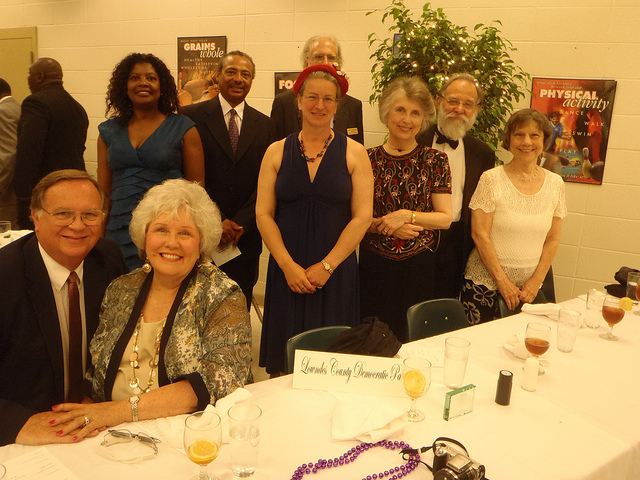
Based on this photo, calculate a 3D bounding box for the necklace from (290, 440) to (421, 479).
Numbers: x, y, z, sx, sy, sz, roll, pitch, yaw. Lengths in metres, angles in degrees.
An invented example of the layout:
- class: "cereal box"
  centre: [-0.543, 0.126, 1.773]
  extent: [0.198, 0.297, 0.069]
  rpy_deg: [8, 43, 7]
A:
- class: "necklace"
  centre: [0.098, 0.741, 1.665]
  extent: [0.296, 0.023, 0.154]
  rpy_deg: [-8, 13, -19]

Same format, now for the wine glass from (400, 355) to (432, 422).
- class: "wine glass"
  centre: [0.379, 0.557, 1.922]
  extent: [0.106, 0.207, 0.284]
  rpy_deg: [7, 15, 16]

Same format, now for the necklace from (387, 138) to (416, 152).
- class: "necklace"
  centre: [0.547, -0.630, 3.281]
  extent: [0.182, 0.077, 0.092]
  rpy_deg: [6, 15, 11]

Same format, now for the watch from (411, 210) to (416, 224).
- class: "watch"
  centre: [0.605, -0.141, 3.144]
  extent: [0.017, 0.049, 0.036]
  rpy_deg: [2, 6, -12]

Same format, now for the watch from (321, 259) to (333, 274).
- class: "watch"
  centre: [0.049, 0.160, 2.937]
  extent: [0.027, 0.072, 0.055]
  rpy_deg: [-35, 5, -8]

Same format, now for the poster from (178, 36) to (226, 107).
- class: "poster"
  centre: [-1.310, -1.861, 5.415]
  extent: [0.630, 0.731, 0.210]
  rpy_deg: [11, 16, 30]

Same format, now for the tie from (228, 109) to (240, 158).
- class: "tie"
  centre: [-0.633, -0.805, 3.618]
  extent: [0.059, 0.392, 0.027]
  rpy_deg: [-1, -3, 2]

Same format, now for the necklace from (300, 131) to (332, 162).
- class: "necklace"
  centre: [-0.029, -0.567, 2.990]
  extent: [0.128, 0.174, 0.041]
  rpy_deg: [4, 19, 10]

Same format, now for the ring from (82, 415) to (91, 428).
- class: "ring"
  centre: [-0.824, 0.638, 1.731]
  extent: [0.036, 0.029, 0.023]
  rpy_deg: [14, 18, 37]

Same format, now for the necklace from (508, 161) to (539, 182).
- class: "necklace"
  centre: [1.440, -0.475, 3.455]
  extent: [0.200, 0.118, 0.114]
  rpy_deg: [8, 15, 18]

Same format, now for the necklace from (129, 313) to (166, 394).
- class: "necklace"
  centre: [-0.724, 0.480, 2.065]
  extent: [0.143, 0.287, 0.160]
  rpy_deg: [6, 15, 13]

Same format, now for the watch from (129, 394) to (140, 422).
- class: "watch"
  centre: [-0.677, 0.616, 1.801]
  extent: [0.040, 0.077, 0.078]
  rpy_deg: [1, 47, -12]

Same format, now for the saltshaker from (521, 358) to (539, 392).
- class: "saltshaker"
  centre: [0.894, 0.561, 2.072]
  extent: [0.057, 0.132, 0.081]
  rpy_deg: [10, 16, 27]

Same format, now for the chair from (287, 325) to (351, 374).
- class: "chair"
  centre: [-0.026, 0.473, 2.413]
  extent: [0.238, 0.322, 0.215]
  rpy_deg: [-2, 12, -19]

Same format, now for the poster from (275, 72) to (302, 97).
- class: "poster"
  centre: [-0.330, -1.597, 5.019]
  extent: [0.170, 0.224, 0.318]
  rpy_deg: [-6, 17, -29]

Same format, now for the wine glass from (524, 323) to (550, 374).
- class: "wine glass"
  centre: [0.956, 0.487, 2.177]
  extent: [0.122, 0.218, 0.126]
  rpy_deg: [17, -25, -27]

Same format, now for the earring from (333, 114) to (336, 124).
- class: "earring"
  centre: [0.126, -0.977, 4.016]
  extent: [0.012, 0.054, 0.037]
  rpy_deg: [12, 17, 34]

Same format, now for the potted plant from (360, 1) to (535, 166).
- class: "potted plant"
  centre: [1.074, -1.228, 3.815]
  extent: [1.352, 1.537, 0.975]
  rpy_deg: [-1, 20, -1]

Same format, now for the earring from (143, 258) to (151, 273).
- class: "earring"
  centre: [-0.770, 0.108, 2.186]
  extent: [0.032, 0.065, 0.071]
  rpy_deg: [-5, 16, -28]

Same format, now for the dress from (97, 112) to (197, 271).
- class: "dress"
  centre: [-1.164, -0.351, 3.336]
  extent: [0.620, 1.006, 0.510]
  rpy_deg: [-2, 15, -16]

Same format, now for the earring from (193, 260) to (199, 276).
- class: "earring"
  centre: [-0.548, 0.130, 2.188]
  extent: [0.024, 0.036, 0.065]
  rpy_deg: [0, 15, -10]
